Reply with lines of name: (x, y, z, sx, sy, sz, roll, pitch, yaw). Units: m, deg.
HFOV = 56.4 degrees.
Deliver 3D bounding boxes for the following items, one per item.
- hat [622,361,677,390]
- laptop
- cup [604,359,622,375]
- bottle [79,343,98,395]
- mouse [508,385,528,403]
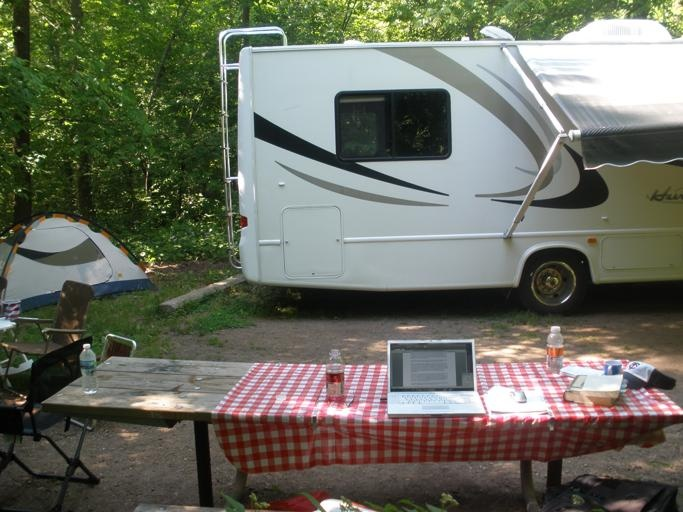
hat: (2.250, 0.891, 4.674, 0.341, 0.102, 0.211, 7, 25, 22)
laptop: (0.666, 0.850, 4.549, 0.672, 0.433, 0.451, -1, 13, 3)
cup: (2.011, 0.834, 4.767, 0.120, 0.106, 0.108, 0, -2, -3)
bottle: (-1.913, 0.843, 4.820, 0.114, 0.303, 0.341, -7, 14, -22)
mouse: (1.270, 1.000, 4.573, 0.125, 0.048, 0.192, 2, 13, 13)
